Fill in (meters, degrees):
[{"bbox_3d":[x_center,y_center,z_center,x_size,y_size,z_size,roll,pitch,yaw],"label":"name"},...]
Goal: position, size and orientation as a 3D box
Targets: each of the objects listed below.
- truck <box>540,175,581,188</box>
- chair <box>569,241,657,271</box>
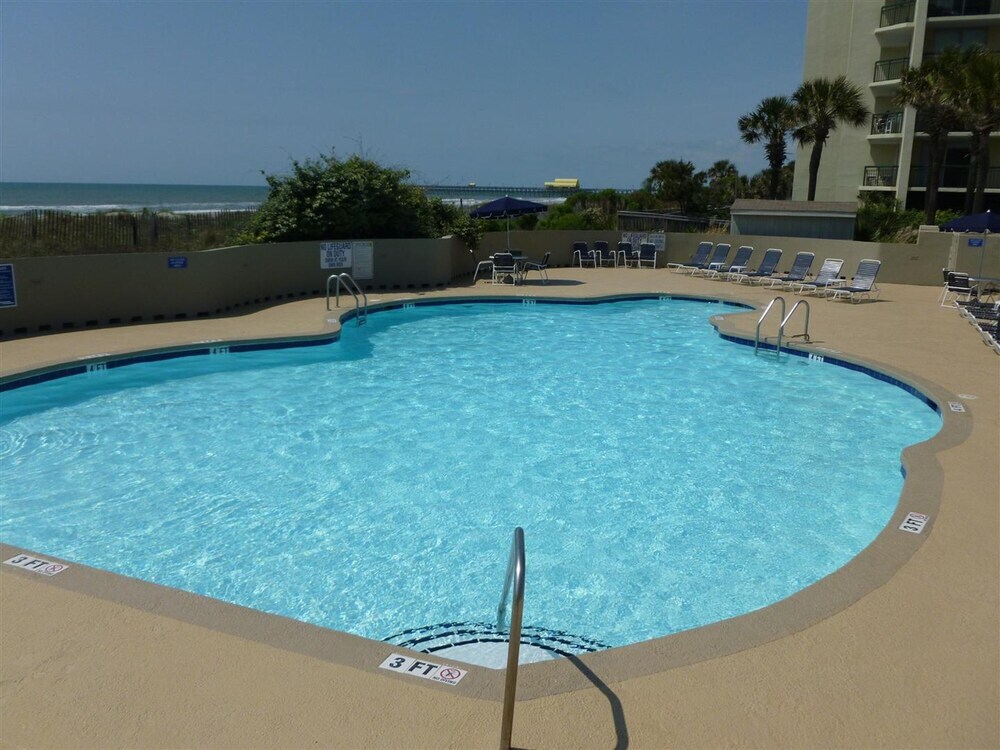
[{"bbox_3d":[10.326,-32.352,113.399,5.904,1.579,3.934,0,9,13],"label":"truck"},{"bbox_3d":[3.975,-4.179,23.428,2.919,0.916,0.730,-2,13,3],"label":"chair"}]
